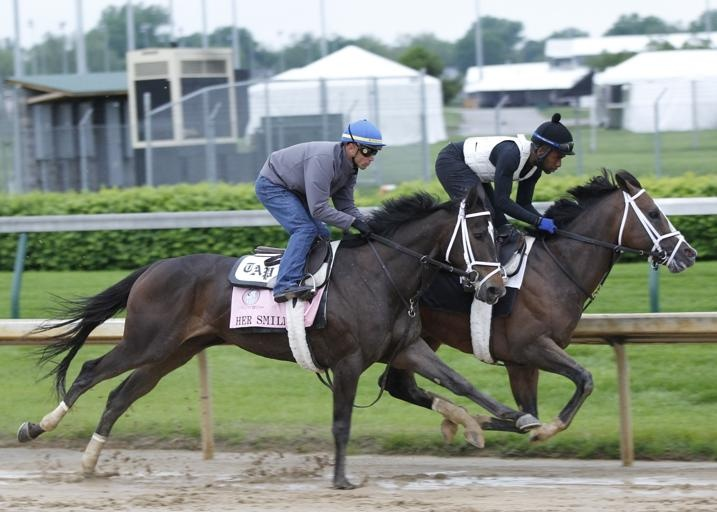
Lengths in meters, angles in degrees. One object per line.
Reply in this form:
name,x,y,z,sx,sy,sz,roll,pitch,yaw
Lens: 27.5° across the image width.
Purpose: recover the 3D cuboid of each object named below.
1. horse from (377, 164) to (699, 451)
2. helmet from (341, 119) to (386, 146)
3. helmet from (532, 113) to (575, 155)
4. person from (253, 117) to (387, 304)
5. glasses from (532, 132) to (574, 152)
horse,1.469,0.592,12.847,0.973,2.305,3.555,14,-16,-39
helmet,0.047,-1.022,12.224,0.345,0.155,0.241,7,16,1
helmet,1.726,-1.049,12.532,0.436,0.248,0.314,18,18,16
person,-0.329,-0.378,12.303,1.041,1.511,0.568,-1,7,-4
glasses,1.657,-0.993,12.406,0.297,0.127,0.179,8,20,11
